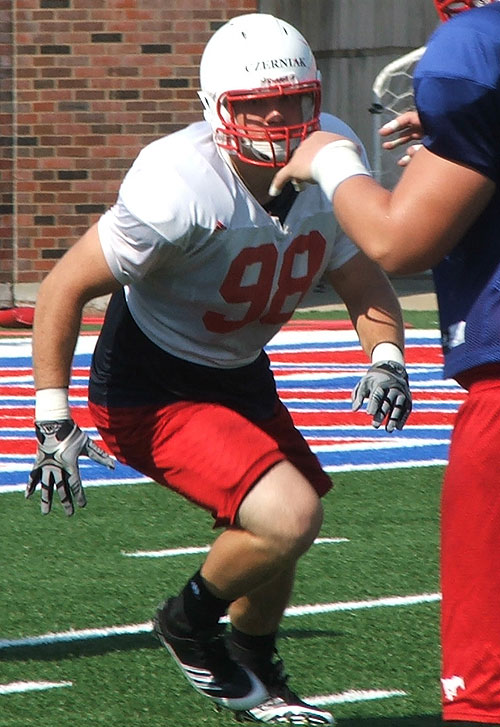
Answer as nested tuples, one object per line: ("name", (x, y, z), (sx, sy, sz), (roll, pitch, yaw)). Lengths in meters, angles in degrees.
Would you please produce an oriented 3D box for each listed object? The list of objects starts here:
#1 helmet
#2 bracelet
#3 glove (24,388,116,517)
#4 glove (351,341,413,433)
("helmet", (0.000, -0.625, 1.691), (0.323, 0.290, 0.356), (-6, 37, -10))
("bracelet", (0.145, -0.329, 1.239), (0.101, 0.048, 0.125), (-14, 24, 2))
("glove", (-0.402, 0.194, 1.635), (0.224, 0.294, 0.110), (5, 13, 26))
("glove", (0.268, 0.050, 1.639), (0.141, 0.068, 0.199), (22, 42, -17))
